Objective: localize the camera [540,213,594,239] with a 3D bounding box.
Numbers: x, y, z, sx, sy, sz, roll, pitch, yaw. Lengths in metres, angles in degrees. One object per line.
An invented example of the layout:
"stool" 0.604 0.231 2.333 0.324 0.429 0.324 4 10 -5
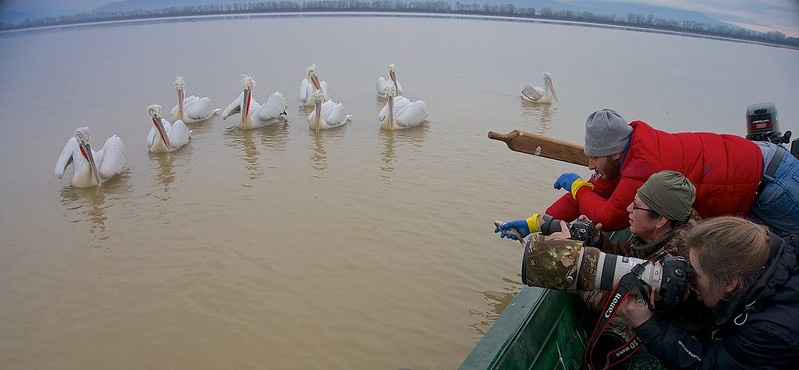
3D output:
"camera" 3.243 0.819 9.085 0.659 0.311 0.560 16 -2 10

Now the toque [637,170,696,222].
"toque" 4.826 0.197 8.715 0.962 0.880 0.419 6 19 21

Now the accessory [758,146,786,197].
"accessory" 7.153 -0.320 9.288 0.247 0.803 0.658 19 -1 13
